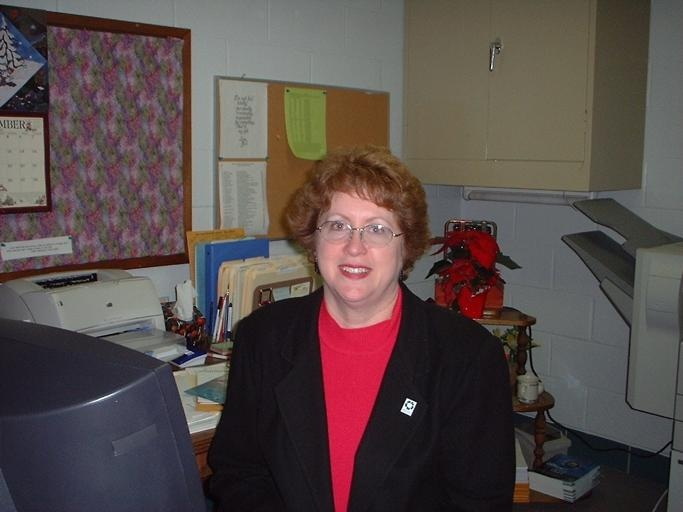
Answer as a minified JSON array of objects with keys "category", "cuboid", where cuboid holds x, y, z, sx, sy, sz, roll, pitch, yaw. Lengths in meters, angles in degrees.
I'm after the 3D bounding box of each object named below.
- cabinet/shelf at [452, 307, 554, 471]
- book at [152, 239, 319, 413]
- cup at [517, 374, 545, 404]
[{"category":"cabinet/shelf","cuboid":[0.964,0.665,2.750,0.299,0.701,0.687,-11,-7,16]},{"category":"book","cuboid":[-0.331,0.202,2.373,0.463,0.919,0.675,2,5,30]},{"category":"cup","cuboid":[0.887,0.611,2.432,0.123,0.117,0.097,0,0,-36]}]
